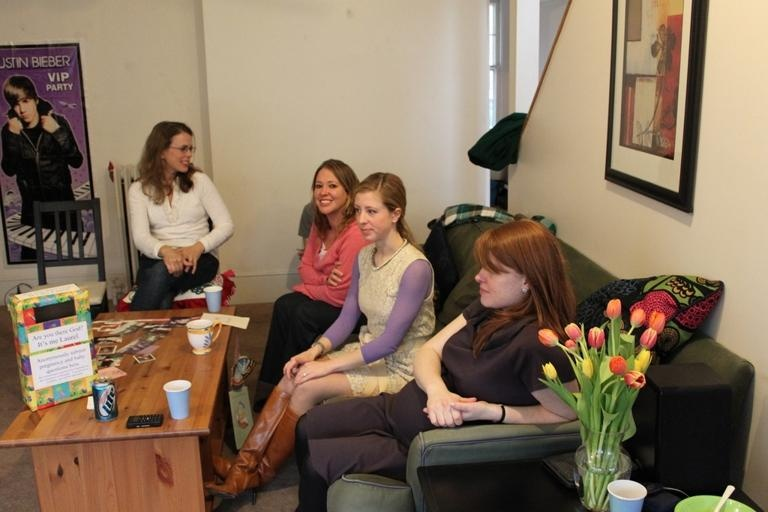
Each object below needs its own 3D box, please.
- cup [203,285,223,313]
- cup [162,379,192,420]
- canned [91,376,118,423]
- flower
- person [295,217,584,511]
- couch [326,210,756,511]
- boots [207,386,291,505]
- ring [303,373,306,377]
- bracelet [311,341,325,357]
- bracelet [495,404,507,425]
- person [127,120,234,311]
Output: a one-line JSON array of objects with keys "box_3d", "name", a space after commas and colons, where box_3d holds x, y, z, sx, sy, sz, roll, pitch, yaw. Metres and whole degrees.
[{"box_3d": [-1.022, 0.263, 3.318, 0.137, 0.146, 0.136, 0, 11, 0], "name": "cup"}, {"box_3d": [-0.858, 0.596, 2.290, 0.133, 0.144, 0.133, -2, 4, 0], "name": "cup"}, {"box_3d": [-1.181, 0.597, 2.267, 0.106, 0.179, 0.102, -6, 12, -17], "name": "canned"}, {"box_3d": [0.744, 0.441, 1.903, 0.369, 0.693, 0.595, 2, 12, 21], "name": "flower"}, {"box_3d": [0.359, 0.205, 2.768, 1.506, 1.917, 0.821, 3, 19, 0], "name": "person"}, {"box_3d": [0.639, 0.438, 2.164, 0.661, 0.588, 1.144, -1, 22, -6], "name": "couch"}, {"box_3d": [-0.600, 0.889, 2.616, 0.444, 0.522, 0.248, 15, 3, -44], "name": "boots"}, {"box_3d": [-0.375, 0.564, 2.550, 0.014, 0.008, 0.019, -18, 29, 17], "name": "ring"}, {"box_3d": [-0.334, 0.471, 2.752, 0.024, 0.073, 0.061, -9, 25, -30], "name": "bracelet"}, {"box_3d": [0.455, 0.616, 2.074, 0.040, 0.056, 0.055, 6, -20, -7], "name": "bracelet"}, {"box_3d": [-1.477, -0.249, 3.870, 0.710, 1.064, 0.976, -1, 24, -9], "name": "person"}]
